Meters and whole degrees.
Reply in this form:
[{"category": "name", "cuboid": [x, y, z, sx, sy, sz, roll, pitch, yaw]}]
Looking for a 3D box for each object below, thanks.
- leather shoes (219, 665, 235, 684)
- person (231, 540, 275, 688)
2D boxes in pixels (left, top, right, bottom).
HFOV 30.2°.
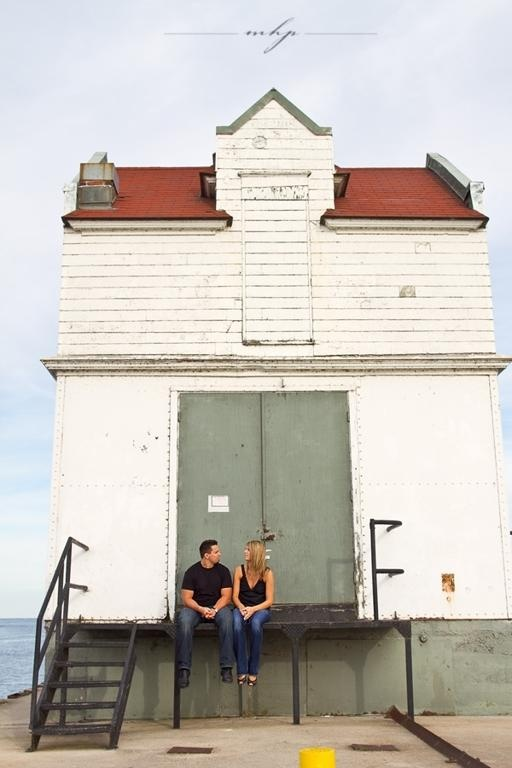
[{"category": "leather shoes", "cuboid": [-0.259, 2.622, 8.603, 0.096, 0.146, 0.270, 0, -10, -5]}, {"category": "person", "cuboid": [-0.026, 2.152, 9.012, 0.385, 1.305, 0.623, -1, -9, 0]}]
